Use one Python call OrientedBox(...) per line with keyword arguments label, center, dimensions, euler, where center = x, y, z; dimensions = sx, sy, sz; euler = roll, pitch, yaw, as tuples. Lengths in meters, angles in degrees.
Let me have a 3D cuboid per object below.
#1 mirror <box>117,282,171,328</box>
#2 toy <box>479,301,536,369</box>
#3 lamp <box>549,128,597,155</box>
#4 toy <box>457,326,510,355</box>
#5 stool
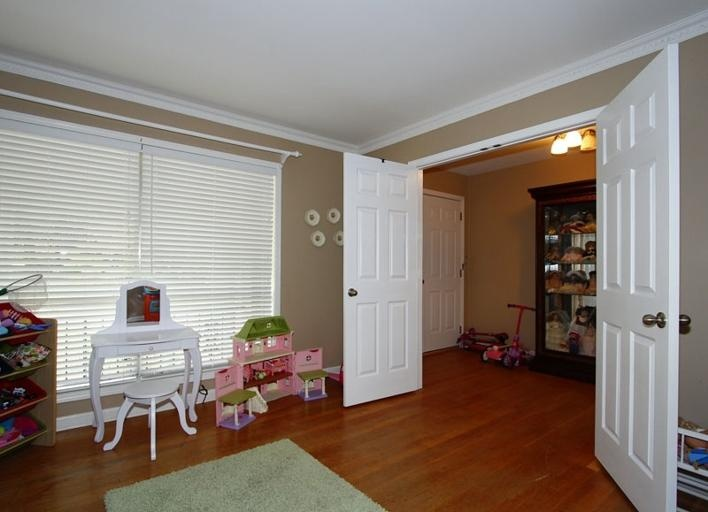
OrientedBox(label="mirror", center=(-1.927, 0.446, 4.379), dimensions=(0.420, 0.403, 0.030), euler=(1, -6, -29))
OrientedBox(label="toy", center=(2.003, 1.020, 6.486), dimensions=(0.832, 0.918, 0.584), euler=(-8, 8, -44))
OrientedBox(label="lamp", center=(2.330, -1.194, 5.038), dimensions=(0.545, 0.263, 0.341), euler=(-8, 13, -42))
OrientedBox(label="toy", center=(1.838, 1.204, 6.936), dimensions=(0.488, 0.222, 0.335), euler=(0, -1, 33))
OrientedBox(label="stool", center=(-1.707, 1.312, 4.075), dimensions=(0.609, 0.448, 0.569), euler=(0, -2, 21))
